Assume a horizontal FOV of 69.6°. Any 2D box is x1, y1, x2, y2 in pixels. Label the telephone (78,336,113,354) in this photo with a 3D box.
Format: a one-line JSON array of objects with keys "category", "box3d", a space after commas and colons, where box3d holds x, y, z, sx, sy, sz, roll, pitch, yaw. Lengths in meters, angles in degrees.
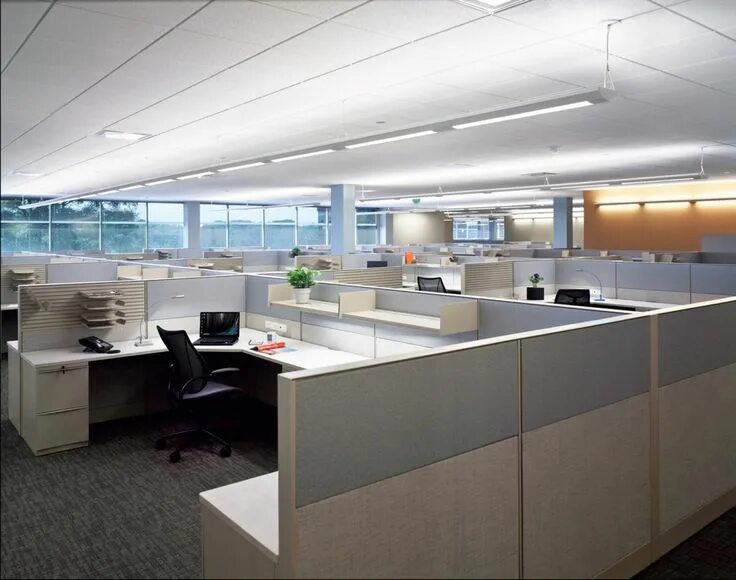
[{"category": "telephone", "box3d": [-2.419, 0.477, 4.746, 0.306, 0.085, 0.169, 21, 17, 35]}]
